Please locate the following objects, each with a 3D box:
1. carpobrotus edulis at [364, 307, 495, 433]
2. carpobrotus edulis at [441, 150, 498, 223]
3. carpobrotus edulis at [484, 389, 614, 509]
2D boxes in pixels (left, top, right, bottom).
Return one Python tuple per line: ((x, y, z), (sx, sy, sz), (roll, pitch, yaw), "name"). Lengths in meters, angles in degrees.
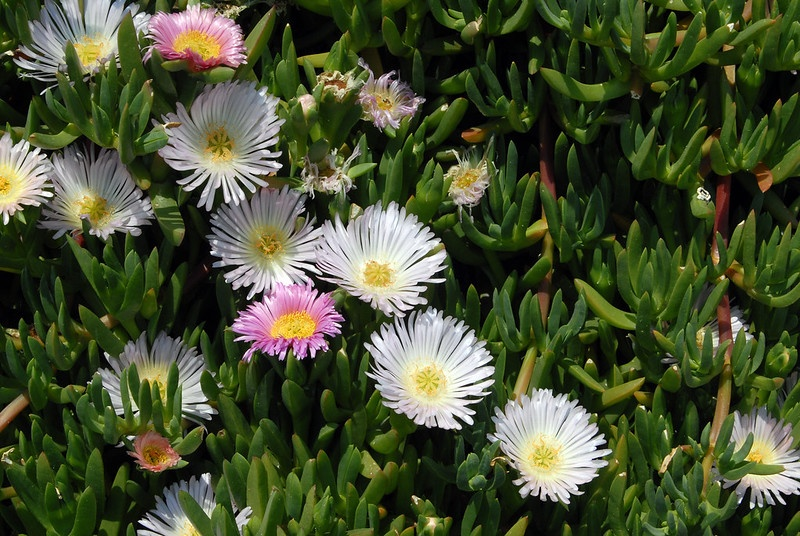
((0.033, 0.118, 0.967), (0.154, 0.052, 0.151), (31, 66, 6), "carpobrotus edulis")
((0.091, -0.122, 1.082), (0.061, 0.047, 0.092), (5, 65, -5), "carpobrotus edulis")
((0.178, 0.214, 0.981), (0.141, 0.071, 0.137), (-31, 73, -19), "carpobrotus edulis")
